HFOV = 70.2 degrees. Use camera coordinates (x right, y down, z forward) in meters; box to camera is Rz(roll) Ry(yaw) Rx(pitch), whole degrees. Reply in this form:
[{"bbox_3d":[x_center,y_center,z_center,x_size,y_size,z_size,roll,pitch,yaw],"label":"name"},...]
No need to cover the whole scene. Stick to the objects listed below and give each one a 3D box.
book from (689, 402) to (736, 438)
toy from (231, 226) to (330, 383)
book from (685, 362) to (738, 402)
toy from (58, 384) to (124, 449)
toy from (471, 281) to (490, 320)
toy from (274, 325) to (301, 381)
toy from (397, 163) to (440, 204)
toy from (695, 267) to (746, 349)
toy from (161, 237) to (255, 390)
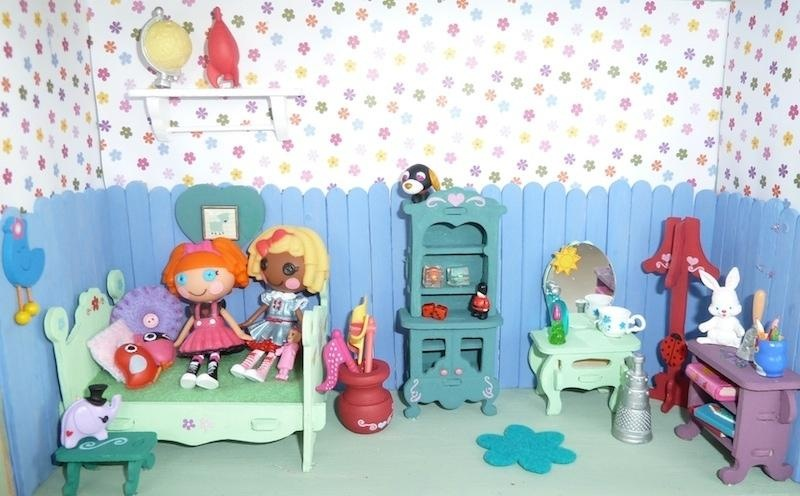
[{"bbox_3d":[2.569,1.397,4.633,0.224,0.054,0.242,10,11,35],"label":"book"},{"bbox_3d":[-1.025,0.489,4.959,0.820,1.223,1.048,14,25,16],"label":"toy"},{"bbox_3d":[2.568,1.114,4.738,0.180,0.258,0.394,-1,2,-17],"label":"book"},{"bbox_3d":[-2.387,1.314,4.475,0.423,0.389,0.246,-2,-3,-10],"label":"toy"},{"bbox_3d":[0.762,0.478,5.206,0.212,0.327,0.194,-1,12,-4],"label":"toy"},{"bbox_3d":[-0.939,0.907,4.836,0.167,0.353,0.103,4,-23,7],"label":"toy"},{"bbox_3d":[0.203,-0.608,5.153,0.381,0.443,0.334,11,24,27],"label":"toy"},{"bbox_3d":[2.764,0.501,4.908,0.357,0.670,0.493,1,3,30],"label":"toy"},{"bbox_3d":[-1.648,0.526,4.865,0.730,1.212,0.713,-1,3,-11],"label":"toy"}]
